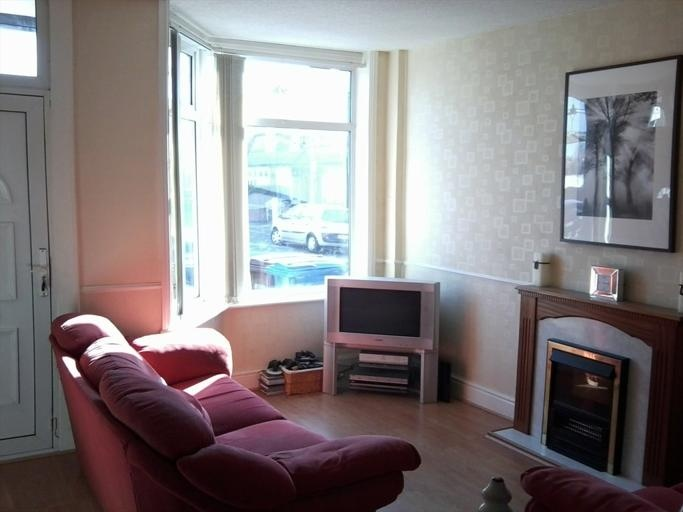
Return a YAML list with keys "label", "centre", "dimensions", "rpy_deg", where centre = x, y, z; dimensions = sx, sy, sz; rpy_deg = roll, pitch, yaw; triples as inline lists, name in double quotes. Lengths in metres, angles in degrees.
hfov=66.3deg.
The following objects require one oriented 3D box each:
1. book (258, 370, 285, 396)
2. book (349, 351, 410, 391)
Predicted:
- label: "book"
  centre: [-0.641, 1.181, 4.860]
  dimensions: [0.207, 0.160, 0.212]
  rpy_deg: [0, 2, -11]
- label: "book"
  centre: [0.377, 1.088, 4.854]
  dimensions: [0.411, 0.198, 0.396]
  rpy_deg: [0, 4, 9]
